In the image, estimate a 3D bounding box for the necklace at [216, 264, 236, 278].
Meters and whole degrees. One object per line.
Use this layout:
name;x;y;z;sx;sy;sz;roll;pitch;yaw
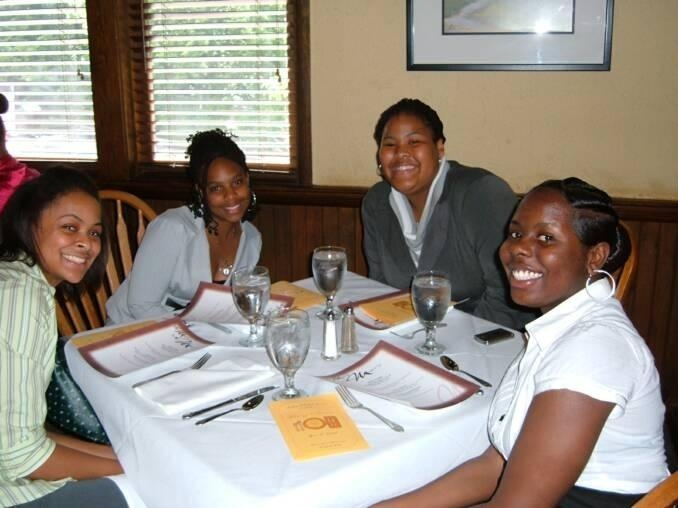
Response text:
necklace;-0.490;0.073;2.146;0.061;0.058;0.025;0;-6;-14

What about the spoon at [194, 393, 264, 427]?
spoon;-0.239;0.340;1.096;0.151;0.020;0.027;-15;25;-24

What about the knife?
knife;-0.247;0.331;1.123;0.171;0.010;0.018;-13;31;-33

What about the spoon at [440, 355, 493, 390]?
spoon;0.302;0.281;1.250;0.038;0.026;0.175;-8;23;-31

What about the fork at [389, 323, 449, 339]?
fork;0.224;0.220;1.449;0.132;0.020;0.023;-12;34;-12
